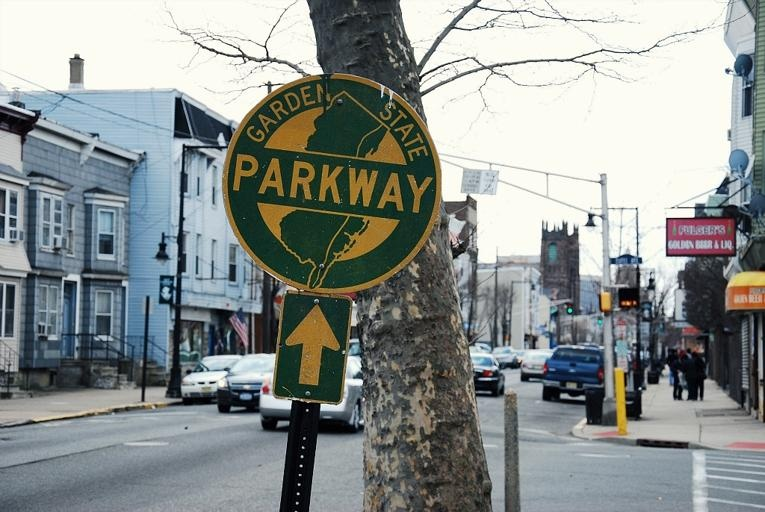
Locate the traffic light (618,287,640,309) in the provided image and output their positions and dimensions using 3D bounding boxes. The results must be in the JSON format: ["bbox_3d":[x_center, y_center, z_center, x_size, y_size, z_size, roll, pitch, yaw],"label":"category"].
[{"bbox_3d":[8.082,1.343,40.291,0.635,0.736,0.799,-3,-8,7],"label":"traffic light"}]

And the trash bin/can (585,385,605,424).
[{"bbox_3d":[7.147,5.136,41.065,0.814,1.252,0.854,-6,-22,21],"label":"trash bin/can"}]

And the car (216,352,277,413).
[{"bbox_3d":[-4.444,4.414,43.192,1.836,1.754,4.496,-1,1,-1],"label":"car"}]
